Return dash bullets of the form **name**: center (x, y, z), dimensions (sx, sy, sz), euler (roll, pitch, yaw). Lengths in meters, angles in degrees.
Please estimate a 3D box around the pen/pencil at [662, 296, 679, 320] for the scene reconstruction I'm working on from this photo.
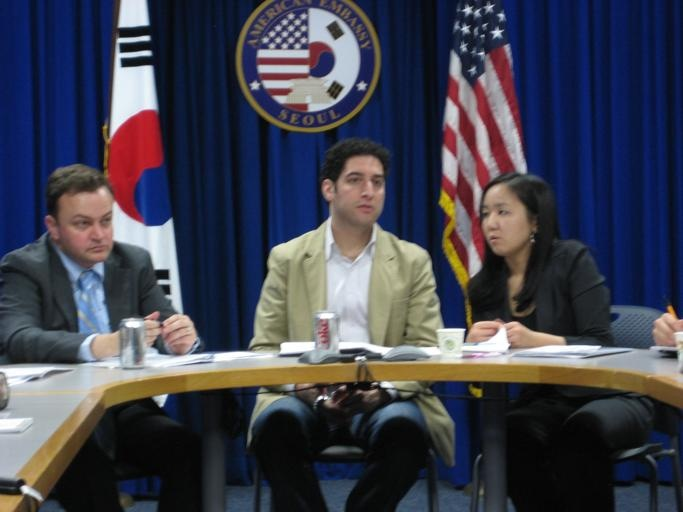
- **pen/pencil**: center (1.680, 0.260, 3.946), dimensions (0.024, 0.183, 0.025), euler (-19, 17, 21)

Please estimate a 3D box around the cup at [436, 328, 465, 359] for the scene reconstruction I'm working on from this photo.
- **cup**: center (0.431, 0.346, 3.070), dimensions (0.093, 0.092, 0.107), euler (1, -7, -4)
